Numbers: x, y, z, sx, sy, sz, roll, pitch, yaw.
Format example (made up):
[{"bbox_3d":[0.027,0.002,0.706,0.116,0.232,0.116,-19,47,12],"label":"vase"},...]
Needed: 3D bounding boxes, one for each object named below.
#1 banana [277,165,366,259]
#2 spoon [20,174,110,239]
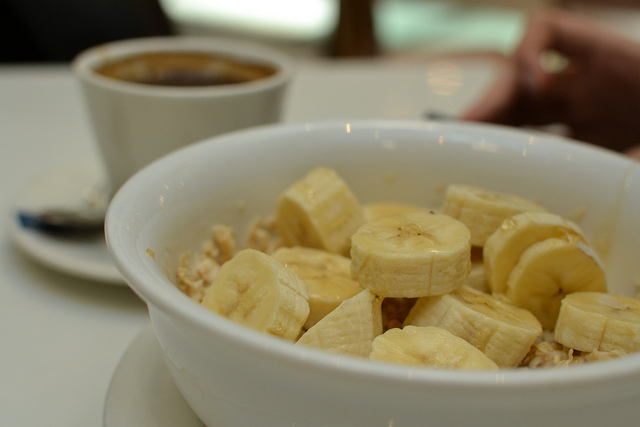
[{"bbox_3d":[-0.004,0.000,0.809,0.095,0.053,0.098,-33,73,27],"label":"banana"},{"bbox_3d":[-0.416,0.014,0.970,0.129,0.130,0.052,-21,54,44],"label":"spoon"}]
